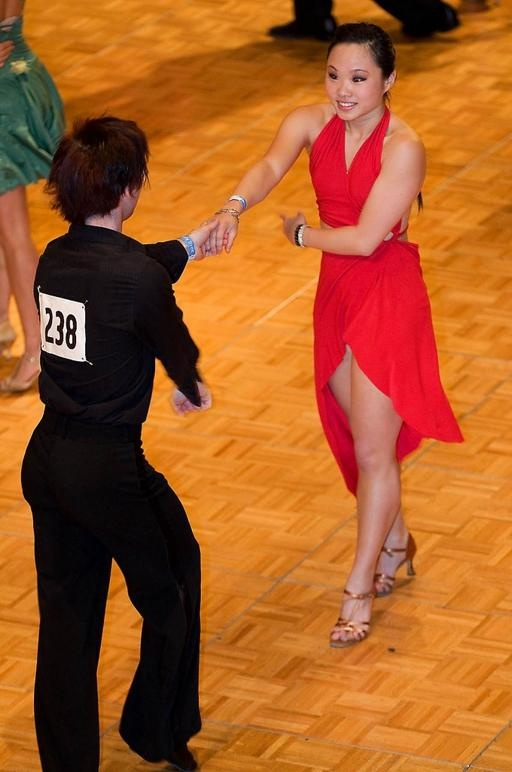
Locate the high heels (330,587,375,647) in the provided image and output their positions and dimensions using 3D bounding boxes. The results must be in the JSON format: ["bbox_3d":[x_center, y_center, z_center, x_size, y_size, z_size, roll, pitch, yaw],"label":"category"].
[{"bbox_3d":[0.279,0.639,2.090,0.076,0.078,0.205,5,32,22],"label":"high heels"}]

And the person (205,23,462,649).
[{"bbox_3d":[0.242,-0.085,2.019,0.583,1.573,0.452,0,15,14],"label":"person"}]
